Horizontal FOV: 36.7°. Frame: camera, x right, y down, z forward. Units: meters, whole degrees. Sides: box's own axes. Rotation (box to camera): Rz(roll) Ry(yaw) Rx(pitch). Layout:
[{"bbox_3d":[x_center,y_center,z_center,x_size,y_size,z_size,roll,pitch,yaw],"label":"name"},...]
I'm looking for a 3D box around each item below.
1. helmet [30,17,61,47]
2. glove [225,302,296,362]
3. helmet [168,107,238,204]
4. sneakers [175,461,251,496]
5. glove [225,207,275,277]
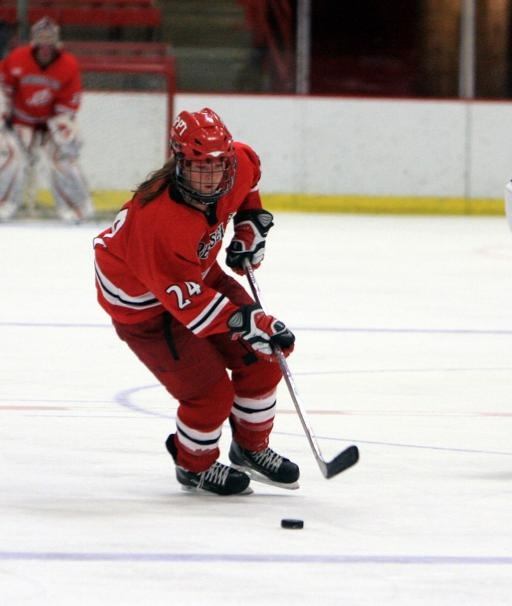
[{"bbox_3d":[-1.090,-1.407,4.021,0.141,0.186,0.278,-2,10,-14],"label":"helmet"},{"bbox_3d":[0.010,0.055,1.672,0.165,0.051,0.089,23,-26,-20],"label":"glove"},{"bbox_3d":[-0.122,-0.324,1.666,0.148,0.155,0.178,-12,36,-30],"label":"helmet"},{"bbox_3d":[-0.089,0.394,1.763,0.202,0.062,0.062,0,16,14],"label":"sneakers"},{"bbox_3d":[-0.014,-0.172,2.066,0.146,0.158,0.074,7,8,-5],"label":"glove"}]
